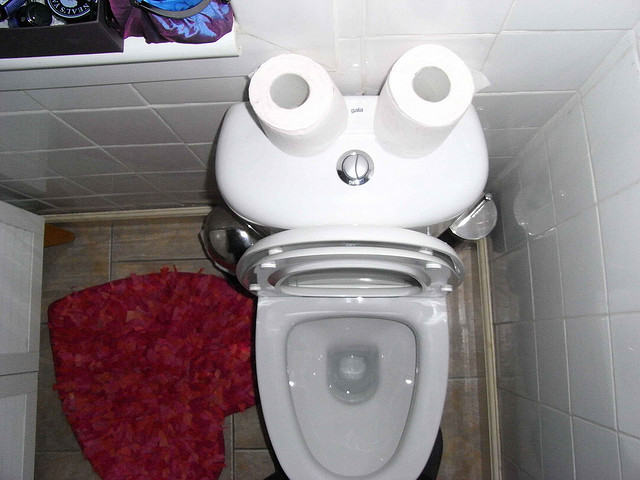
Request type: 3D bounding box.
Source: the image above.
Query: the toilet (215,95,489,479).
[{"bbox_3d":[0.047,0.172,1.230,0.636,0.558,0.901,4,77,2],"label":"toilet"}]

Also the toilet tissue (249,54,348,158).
[{"bbox_3d":[-0.052,-0.305,1.021,0.191,0.126,0.195,6,78,12],"label":"toilet tissue"}]

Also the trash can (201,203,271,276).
[{"bbox_3d":[-0.269,0.000,1.380,0.218,0.227,0.177,2,30,-24],"label":"trash can"}]

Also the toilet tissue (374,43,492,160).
[{"bbox_3d":[0.241,-0.294,1.046,0.213,0.205,0.175,1,79,-2],"label":"toilet tissue"}]
